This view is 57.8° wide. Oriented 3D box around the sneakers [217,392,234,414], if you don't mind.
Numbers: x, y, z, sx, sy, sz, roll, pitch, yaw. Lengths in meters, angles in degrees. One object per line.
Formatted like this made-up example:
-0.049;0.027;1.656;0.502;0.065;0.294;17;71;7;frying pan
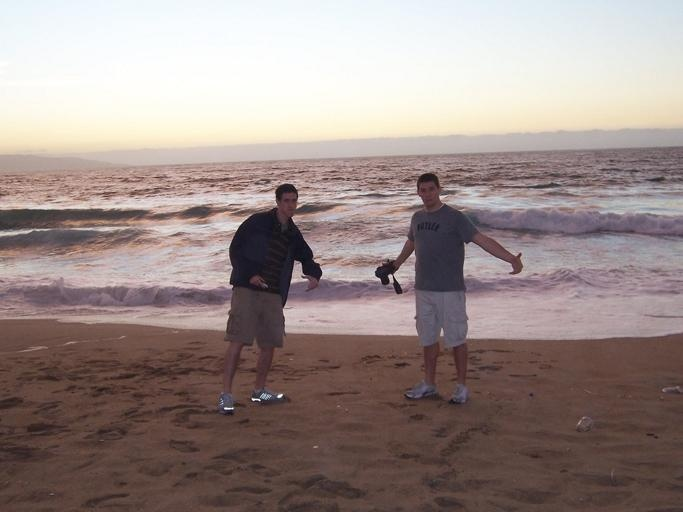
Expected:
-1.098;1.376;5.730;0.111;0.231;0.100;0;47;6;sneakers

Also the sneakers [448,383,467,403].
1.126;1.328;5.898;0.118;0.081;0.256;-2;-2;26;sneakers

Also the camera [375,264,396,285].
0.463;0.199;6.484;0.184;0.256;0.115;4;40;-1;camera

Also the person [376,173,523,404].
1.047;0.315;5.888;0.895;2.194;0.540;1;14;18;person

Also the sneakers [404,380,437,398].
0.791;1.330;6.143;0.350;0.102;0.143;-1;4;-11;sneakers

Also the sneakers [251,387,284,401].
-0.680;1.367;6.095;0.434;0.120;0.111;0;15;-7;sneakers
